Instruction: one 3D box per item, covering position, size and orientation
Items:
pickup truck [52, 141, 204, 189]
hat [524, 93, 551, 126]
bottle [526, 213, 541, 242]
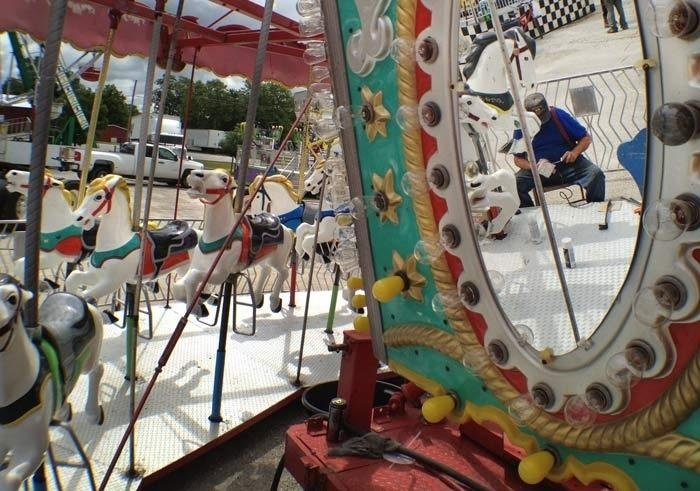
[{"bbox_3d":[-6.232,-2.112,15.891,3.935,1.585,1.699,-1,-18,-11],"label":"pickup truck"},{"bbox_3d":[0.513,-0.376,1.464,0.055,0.083,0.079,-28,14,16],"label":"hat"},{"bbox_3d":[0.530,-0.045,1.495,0.040,0.081,0.047,1,4,-38],"label":"bottle"}]
